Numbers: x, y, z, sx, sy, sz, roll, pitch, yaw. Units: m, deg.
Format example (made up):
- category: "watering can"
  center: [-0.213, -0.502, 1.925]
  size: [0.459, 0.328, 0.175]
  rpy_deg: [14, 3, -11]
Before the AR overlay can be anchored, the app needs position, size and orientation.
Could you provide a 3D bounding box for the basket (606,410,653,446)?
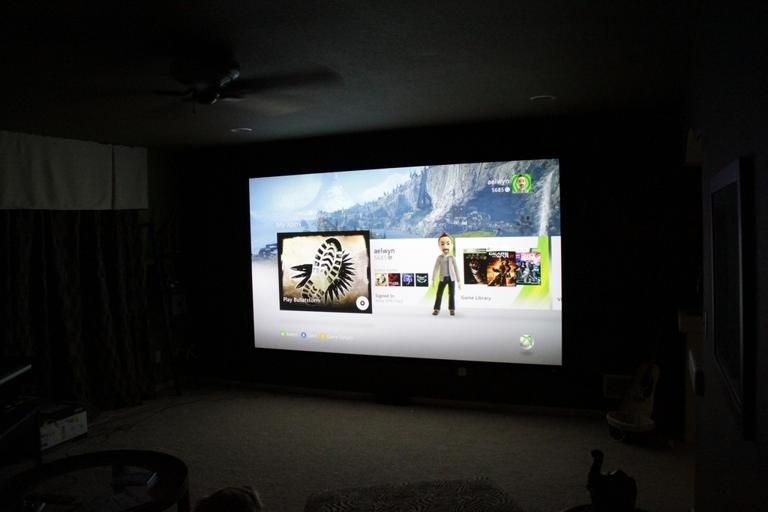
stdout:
- category: "basket"
  center: [2.257, 1.542, 4.918]
  size: [0.430, 0.234, 0.292]
  rpy_deg: [1, 10, 17]
